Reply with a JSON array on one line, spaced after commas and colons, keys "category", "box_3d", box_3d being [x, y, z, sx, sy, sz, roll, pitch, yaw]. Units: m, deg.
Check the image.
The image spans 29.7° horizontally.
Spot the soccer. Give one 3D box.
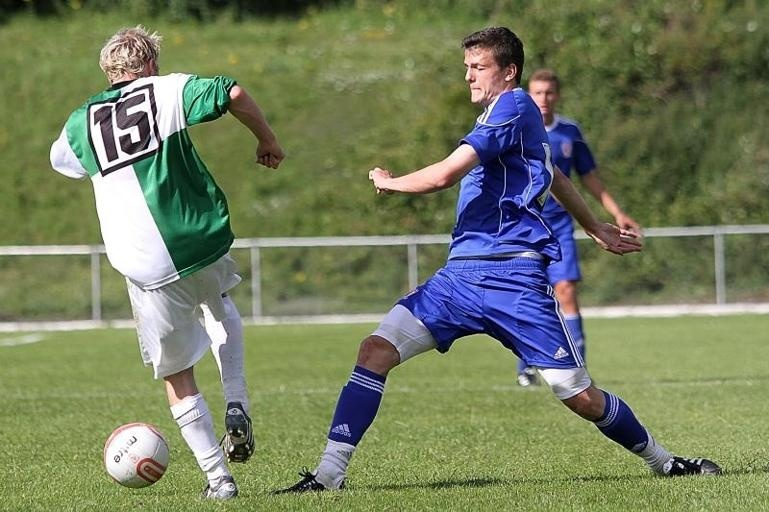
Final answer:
[{"category": "soccer", "box_3d": [-2.561, 2.091, 15.187, 0.662, 0.625, 0.650, -2, -2, 5]}]

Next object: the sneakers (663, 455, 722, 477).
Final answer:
[{"category": "sneakers", "box_3d": [3.211, 2.215, 15.337, 0.654, 0.262, 0.229, -3, -2, -2]}]
